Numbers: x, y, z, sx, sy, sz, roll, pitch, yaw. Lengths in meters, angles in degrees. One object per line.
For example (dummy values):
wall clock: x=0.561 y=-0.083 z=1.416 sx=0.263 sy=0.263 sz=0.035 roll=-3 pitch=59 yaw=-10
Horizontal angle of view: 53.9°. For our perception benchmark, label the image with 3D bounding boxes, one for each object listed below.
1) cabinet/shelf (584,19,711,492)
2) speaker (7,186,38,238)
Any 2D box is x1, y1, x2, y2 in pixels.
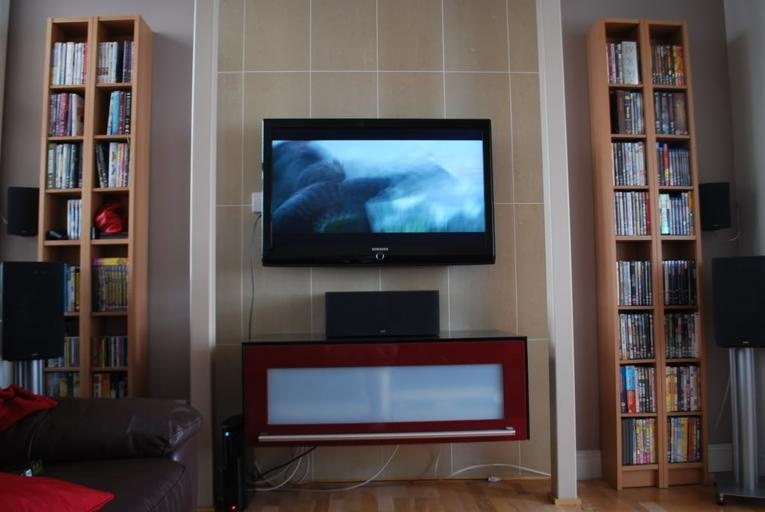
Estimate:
cabinet/shelf: x=1.986 y=-0.147 z=5.464 sx=0.674 sy=3.032 sz=0.324 roll=-1 pitch=18 yaw=27
speaker: x=-2.623 y=-0.324 z=5.455 sx=0.185 sy=0.347 sz=0.177 roll=0 pitch=-3 yaw=-45
